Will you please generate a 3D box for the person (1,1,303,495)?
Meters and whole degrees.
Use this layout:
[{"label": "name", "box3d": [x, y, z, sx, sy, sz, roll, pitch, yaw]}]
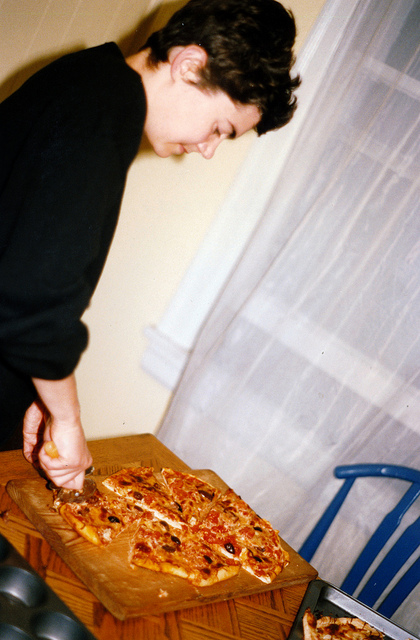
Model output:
[{"label": "person", "box3d": [-0.152, -0.135, 1.056, 0.498, 0.928, 0.385, -3, 33, -32]}]
